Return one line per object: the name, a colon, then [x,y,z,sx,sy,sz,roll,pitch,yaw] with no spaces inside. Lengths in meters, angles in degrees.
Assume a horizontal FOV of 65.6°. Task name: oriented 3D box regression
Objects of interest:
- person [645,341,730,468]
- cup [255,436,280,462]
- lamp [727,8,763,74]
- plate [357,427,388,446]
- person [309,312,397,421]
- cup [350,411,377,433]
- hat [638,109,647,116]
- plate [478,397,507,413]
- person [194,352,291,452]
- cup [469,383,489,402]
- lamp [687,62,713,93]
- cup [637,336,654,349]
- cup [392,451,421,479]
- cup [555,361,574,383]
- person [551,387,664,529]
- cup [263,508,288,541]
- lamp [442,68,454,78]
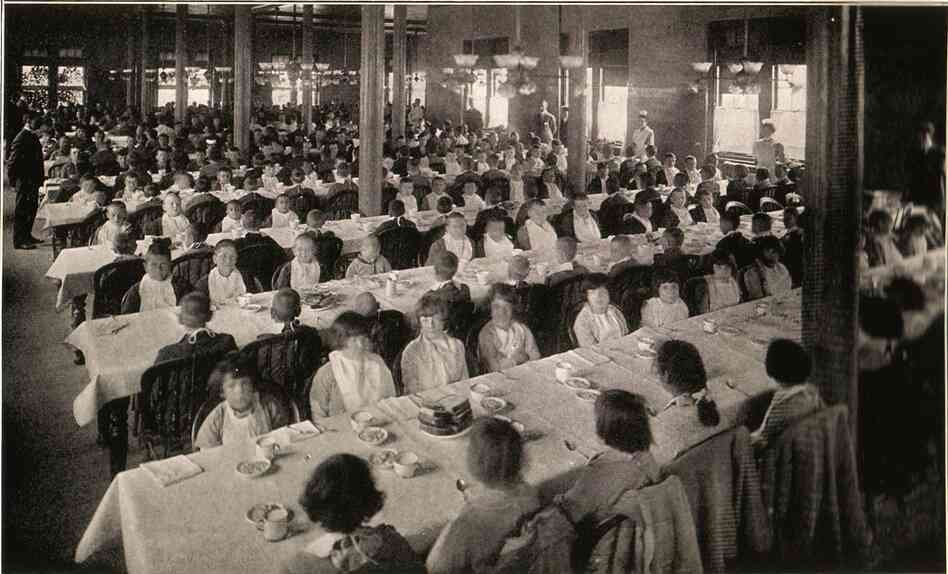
person: [1.659,0.941,5.947,0.293,0.802,0.609,15,16,36]
cup: [-1.390,1.104,4.956,0.155,0.125,0.140,0,10,-1]
lamp: [3.677,-3.288,10.014,0.504,0.792,0.505,-5,5,-26]
plate: [-0.696,1.049,5.110,0.196,0.080,0.154,1,10,5]
person: [-1.001,0.667,6.242,0.670,0.657,0.764,0,10,-2]
cup: [-0.786,0.958,5.226,0.126,0.074,0.124,1,20,0]
hat: [2.209,-2.265,9.576,0.080,0.055,0.079,-2,4,-43]
plate: [0.151,0.896,5.532,0.204,0.068,0.205,-2,11,-13]
person: [-1.743,0.975,5.641,0.710,0.703,0.388,-4,-2,-14]
cup: [0.039,0.819,5.661,0.155,0.079,0.218,2,10,10]
lamp: [2.903,-2.707,9.466,0.318,0.413,0.233,1,10,3]
cup: [1.511,0.500,6.503,0.095,0.044,0.094,1,10,0]
cup: [-0.452,1.205,4.971,0.147,0.092,0.135,3,14,-1]
cup: [0.716,0.698,5.913,0.153,0.120,0.118,-6,15,-11]
person: [0.978,1.223,5.493,0.870,0.888,0.234,-17,4,-17]
cup: [-1.222,1.489,4.603,0.153,0.146,0.146,4,6,0]
lamp: [-0.440,-3.793,12.965,0.171,0.128,0.231,-2,10,-10]
